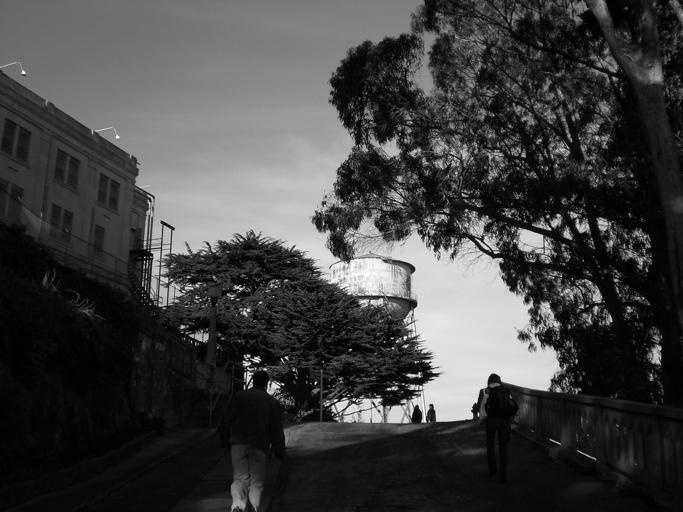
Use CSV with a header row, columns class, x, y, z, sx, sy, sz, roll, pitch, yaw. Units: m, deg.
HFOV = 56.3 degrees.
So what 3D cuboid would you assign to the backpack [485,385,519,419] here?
class,x,y,z,sx,sy,sz,roll,pitch,yaw
backpack,2.517,2.360,10.156,0.424,0.559,0.506,2,-24,0
